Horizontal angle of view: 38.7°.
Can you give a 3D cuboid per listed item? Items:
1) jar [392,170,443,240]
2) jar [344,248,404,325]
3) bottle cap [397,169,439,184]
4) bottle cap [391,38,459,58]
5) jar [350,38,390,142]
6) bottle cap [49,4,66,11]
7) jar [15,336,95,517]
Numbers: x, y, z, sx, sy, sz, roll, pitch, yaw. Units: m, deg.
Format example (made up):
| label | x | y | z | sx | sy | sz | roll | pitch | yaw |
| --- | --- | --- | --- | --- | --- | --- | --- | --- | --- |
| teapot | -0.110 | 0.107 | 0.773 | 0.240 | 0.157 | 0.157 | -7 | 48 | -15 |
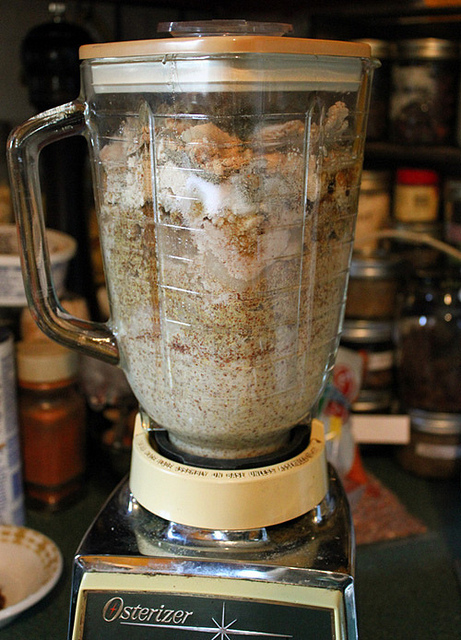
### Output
| label | x | y | z | sx | sy | sz | roll | pitch | yaw |
| --- | --- | --- | --- | --- | --- | --- | --- | --- | --- |
| jar | 0.302 | -0.188 | 1.068 | 0.077 | 0.117 | 0.074 | 0 | 16 | 0 |
| jar | 0.212 | -0.042 | 0.962 | 0.051 | 0.121 | 0.094 | -3 | 18 | -26 |
| bottle cap | 0.295 | -0.227 | 1.037 | 0.063 | 0.021 | 0.036 | 5 | 23 | 13 |
| bottle cap | 0.288 | -0.400 | 0.967 | 0.087 | 0.024 | 0.034 | 12 | 25 | 27 |
| jar | 0.157 | -0.316 | 0.954 | 0.084 | 0.132 | 0.082 | -1 | 20 | 1 |
| bottle cap | -0.237 | -0.431 | 0.903 | 0.014 | 0.008 | 0.013 | 0 | 13 | -4 |
| jar | -0.197 | 0.150 | 0.870 | 0.094 | 0.173 | 0.103 | -3 | -15 | -1 |
